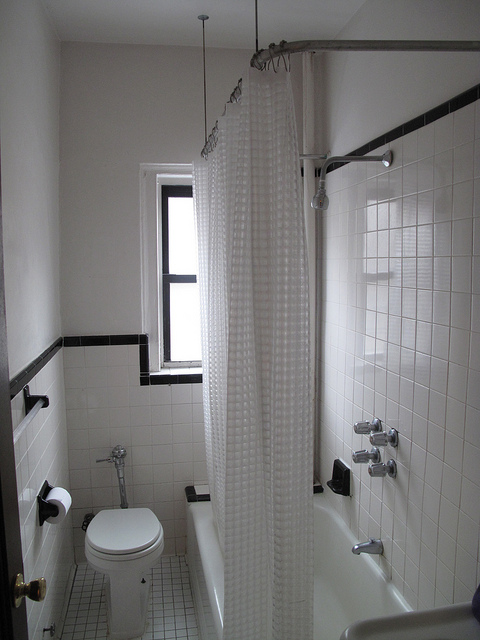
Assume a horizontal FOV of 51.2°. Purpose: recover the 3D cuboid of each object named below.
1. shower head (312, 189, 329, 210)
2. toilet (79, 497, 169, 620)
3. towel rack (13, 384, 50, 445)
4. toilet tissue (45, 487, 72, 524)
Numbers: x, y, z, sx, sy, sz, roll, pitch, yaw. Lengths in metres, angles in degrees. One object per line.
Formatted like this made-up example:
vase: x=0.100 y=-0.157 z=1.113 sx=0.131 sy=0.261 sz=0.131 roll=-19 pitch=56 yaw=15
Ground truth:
shower head: x=0.301 y=-0.466 z=1.851 sx=0.055 sy=0.116 sz=0.038 roll=0 pitch=18 yaw=2
toilet: x=-0.536 y=1.114 z=2.367 sx=0.304 sy=0.452 sz=0.502 roll=-1 pitch=10 yaw=-8
towel rack: x=-0.707 y=0.306 z=1.703 sx=0.049 sy=0.246 sz=0.146 roll=2 pitch=9 yaw=-2
toilet tissue: x=-0.676 y=0.681 z=1.895 sx=0.083 sy=0.112 sz=0.114 roll=17 pitch=6 yaw=-7
